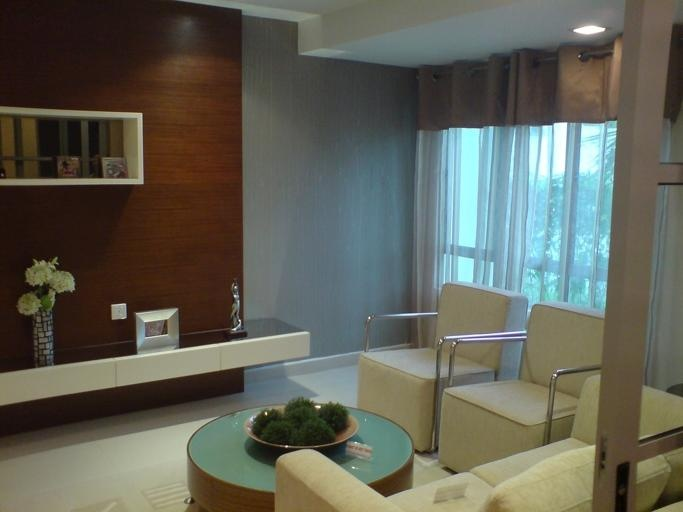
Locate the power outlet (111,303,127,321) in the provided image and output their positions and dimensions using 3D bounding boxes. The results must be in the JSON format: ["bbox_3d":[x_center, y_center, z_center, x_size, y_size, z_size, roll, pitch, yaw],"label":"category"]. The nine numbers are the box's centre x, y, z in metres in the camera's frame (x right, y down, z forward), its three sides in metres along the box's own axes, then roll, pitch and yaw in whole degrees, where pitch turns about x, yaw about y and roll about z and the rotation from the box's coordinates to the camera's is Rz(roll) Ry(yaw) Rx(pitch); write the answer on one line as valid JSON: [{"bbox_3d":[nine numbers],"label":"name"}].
[{"bbox_3d":[-1.606,0.397,3.906,0.113,0.122,0.015,-4,9,-31],"label":"power outlet"}]

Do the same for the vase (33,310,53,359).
[{"bbox_3d":[-1.938,0.516,3.528,0.120,0.320,0.273,-5,11,-30],"label":"vase"}]

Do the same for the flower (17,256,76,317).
[{"bbox_3d":[-1.919,0.204,3.560,0.262,0.301,0.340,5,-18,3],"label":"flower"}]

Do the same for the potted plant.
[{"bbox_3d":[-0.209,0.873,2.821,0.328,0.134,0.342,1,1,-2],"label":"potted plant"}]
